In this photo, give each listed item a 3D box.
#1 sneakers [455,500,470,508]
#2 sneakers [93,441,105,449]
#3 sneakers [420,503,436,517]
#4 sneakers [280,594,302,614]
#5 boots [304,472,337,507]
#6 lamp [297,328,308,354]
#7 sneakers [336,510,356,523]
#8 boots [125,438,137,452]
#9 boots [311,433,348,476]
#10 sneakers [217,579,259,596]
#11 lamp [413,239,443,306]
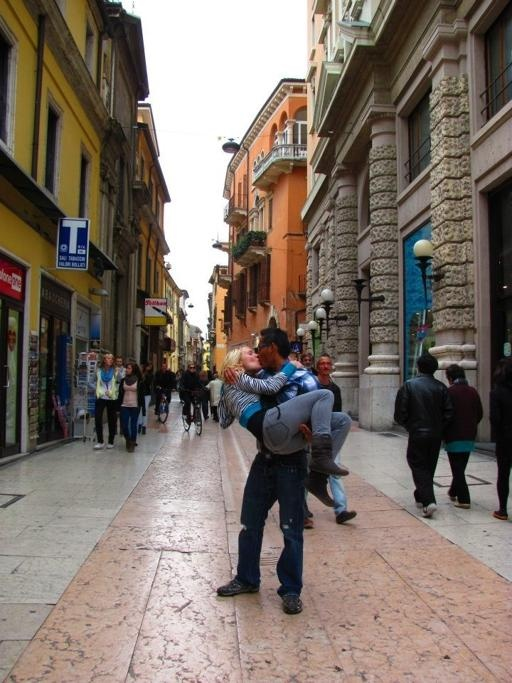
[{"bbox_3d":[2.192,1.732,5.805,0.056,0.075,0.161,3,1,-24],"label":"sneakers"},{"bbox_3d":[-3.145,2.088,10.935,0.088,0.127,0.263,-2,-12,5],"label":"sneakers"},{"bbox_3d":[1.709,1.656,5.392,0.071,0.108,0.212,2,1,1],"label":"sneakers"},{"bbox_3d":[0.197,1.418,2.950,0.111,0.083,0.122,0,-5,6],"label":"sneakers"},{"bbox_3d":[0.352,0.817,3.040,0.150,0.238,0.404,0,-5,7],"label":"boots"},{"bbox_3d":[1.989,-0.078,23.121,0.488,1.463,0.939,-1,4,-8],"label":"lamp"},{"bbox_3d":[0.861,1.673,5.267,0.092,0.093,0.225,9,-37,-37],"label":"sneakers"},{"bbox_3d":[-2.414,2.051,10.698,0.130,0.333,0.329,0,-27,-5],"label":"boots"},{"bbox_3d":[0.406,0.579,2.763,0.239,0.269,0.124,3,-4,-1],"label":"boots"},{"bbox_3d":[-0.104,1.436,3.251,0.235,0.117,0.094,4,-4,-11],"label":"sneakers"},{"bbox_3d":[3.484,-1.477,10.970,0.535,1.021,1.686,-1,-5,17],"label":"lamp"}]
